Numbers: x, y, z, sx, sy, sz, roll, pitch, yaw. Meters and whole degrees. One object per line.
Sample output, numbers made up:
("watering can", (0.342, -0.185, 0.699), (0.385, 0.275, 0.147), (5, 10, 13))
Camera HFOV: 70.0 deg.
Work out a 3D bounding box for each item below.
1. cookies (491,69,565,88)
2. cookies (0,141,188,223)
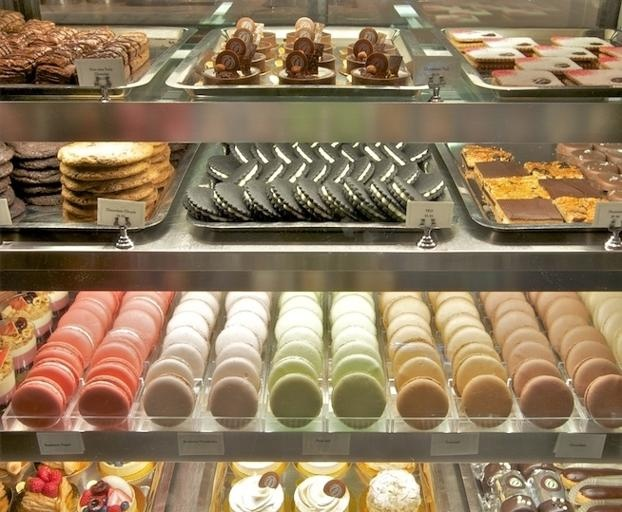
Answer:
("cookies", (0.554, -0.455, 1.142), (0.113, 0.103, 0.021), (-2, -63, -5))
("cookies", (-0.575, -0.202, 1.339), (0.356, 0.364, 0.092), (0, -63, -3))
